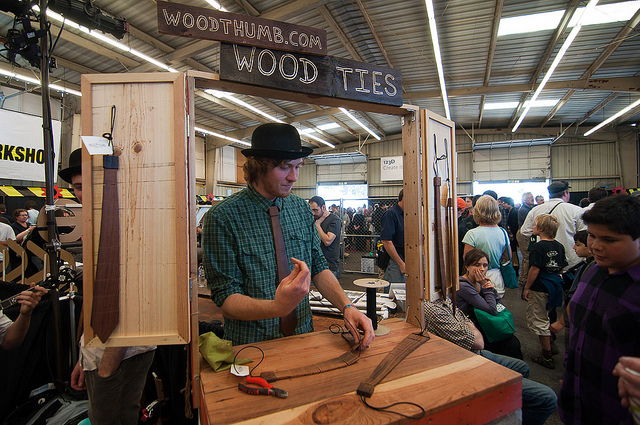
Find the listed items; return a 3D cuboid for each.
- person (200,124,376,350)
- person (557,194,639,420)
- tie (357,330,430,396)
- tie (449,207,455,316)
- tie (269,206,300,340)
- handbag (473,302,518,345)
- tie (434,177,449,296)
[{"bbox_3d":[-0.318,0.193,3.349,1.105,1.853,0.787,-3,2,-31],"label":"person"},{"bbox_3d":[2.382,0.823,3.518,0.463,1.925,0.549,-3,2,-42],"label":"person"},{"bbox_3d":[0.610,1.176,3.267,0.157,0.150,1.099,13,14,33],"label":"tie"},{"bbox_3d":[1.181,0.403,3.694,0.036,0.880,0.122,-1,2,17],"label":"tie"},{"bbox_3d":[-0.296,0.468,3.467,0.274,0.993,0.084,-22,-26,22],"label":"tie"},{"bbox_3d":[1.949,1.163,4.558,0.272,0.473,0.501,-28,-12,40],"label":"handbag"},{"bbox_3d":[1.058,0.111,3.681,0.124,1.295,0.073,-10,-33,28],"label":"tie"}]
